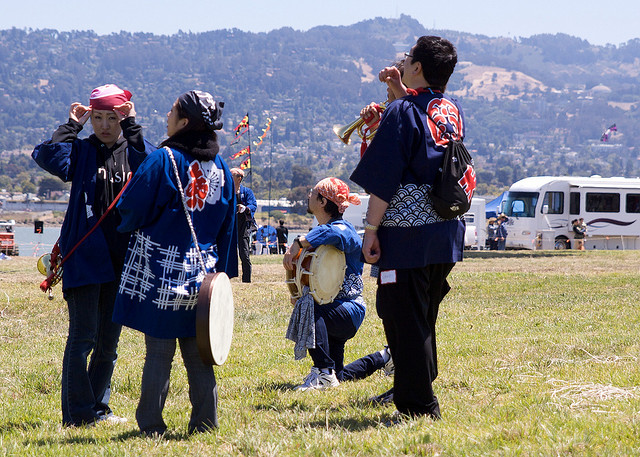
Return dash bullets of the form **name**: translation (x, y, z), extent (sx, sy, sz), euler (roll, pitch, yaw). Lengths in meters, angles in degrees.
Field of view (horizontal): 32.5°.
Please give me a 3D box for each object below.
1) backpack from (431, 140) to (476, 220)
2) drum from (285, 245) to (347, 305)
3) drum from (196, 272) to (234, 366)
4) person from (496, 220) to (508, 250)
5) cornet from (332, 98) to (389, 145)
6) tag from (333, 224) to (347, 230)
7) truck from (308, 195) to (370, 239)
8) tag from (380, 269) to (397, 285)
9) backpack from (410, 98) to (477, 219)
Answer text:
- **backpack**: translation (1.272, -0.469, 10.559), extent (0.378, 0.764, 0.208), euler (1, 5, -32)
- **drum**: translation (-0.034, 0.488, 11.948), extent (0.662, 0.657, 0.379), euler (3, 4, -4)
- **drum**: translation (-1.016, 0.863, 10.590), extent (0.205, 0.891, 0.479), euler (5, 4, 26)
- **person**: translation (5.654, 0.181, 34.425), extent (0.301, 0.918, 0.466), euler (4, 4, 8)
- **cornet**: translation (0.428, -1.152, 11.735), extent (0.540, 0.501, 0.900), euler (3, 4, -1)
- **tag**: translation (0.213, -0.025, 11.917), extent (0.140, 0.050, 0.060), euler (2, 4, -26)
- **truck**: translation (1.408, -0.839, 39.868), extent (2.246, 1.839, 1.423), euler (-7, 16, -32)
- **tag**: translation (0.654, 0.454, 10.534), extent (0.139, 0.114, 0.020), euler (-2, 2, 29)
- **backpack**: translation (1.271, -0.629, 10.640), extent (0.547, 1.054, 0.374), euler (0, 5, -41)
